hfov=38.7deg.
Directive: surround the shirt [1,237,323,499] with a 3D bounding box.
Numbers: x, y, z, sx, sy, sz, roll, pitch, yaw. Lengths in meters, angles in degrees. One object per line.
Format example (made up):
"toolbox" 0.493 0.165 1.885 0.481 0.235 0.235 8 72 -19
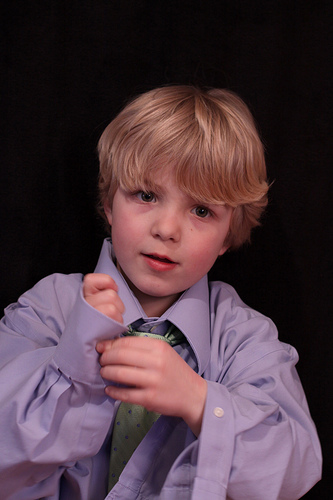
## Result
"shirt" -0.026 0.252 0.850 0.567 0.439 0.406 1 17 -5
